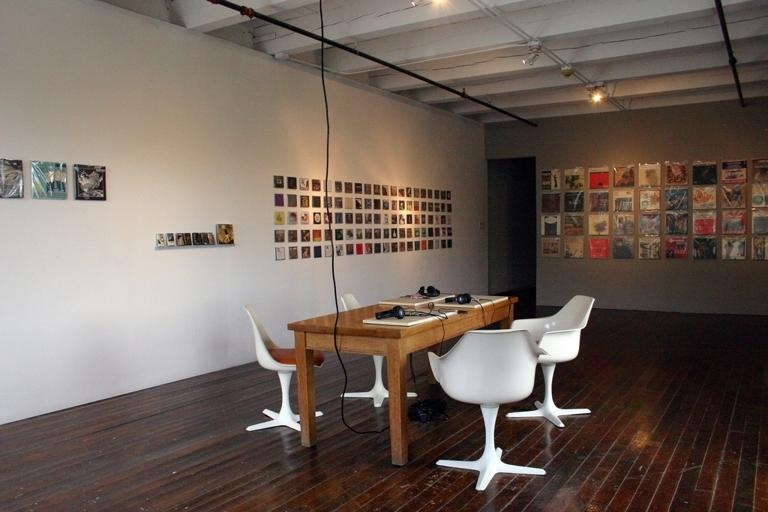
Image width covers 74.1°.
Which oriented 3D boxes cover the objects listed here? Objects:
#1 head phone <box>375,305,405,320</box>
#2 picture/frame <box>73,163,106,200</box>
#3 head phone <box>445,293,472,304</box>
[{"bbox_3d":[0.058,0.554,4.827,0.207,0.089,0.135,-19,-15,18],"label":"head phone"},{"bbox_3d":[-3.469,-0.868,5.958,0.055,0.514,0.450,-3,-1,42],"label":"picture/frame"},{"bbox_3d":[0.822,0.486,5.635,0.147,0.074,0.183,8,-14,-30],"label":"head phone"}]
